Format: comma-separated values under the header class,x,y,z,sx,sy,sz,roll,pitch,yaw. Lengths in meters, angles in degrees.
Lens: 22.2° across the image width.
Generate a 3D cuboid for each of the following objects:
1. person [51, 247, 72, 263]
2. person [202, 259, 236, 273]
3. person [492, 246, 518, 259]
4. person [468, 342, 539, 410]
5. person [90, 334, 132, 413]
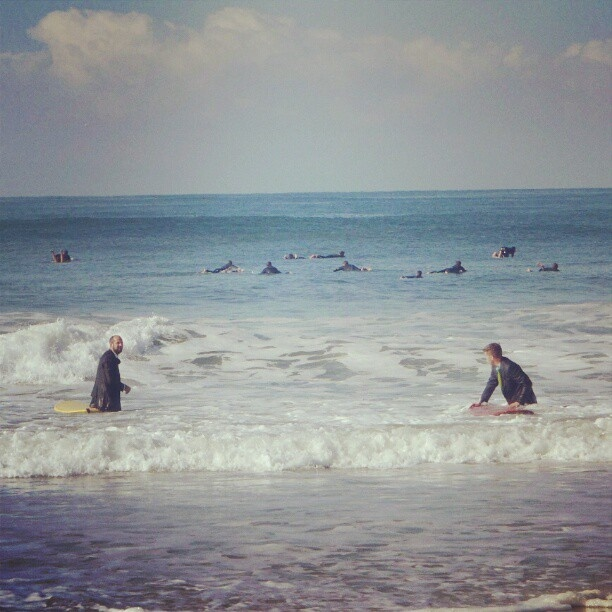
class,x,y,z,sx,sy,sz,roll,pitch,yaw
person,-8.785,-1.769,56.045,0.463,0.603,1.271,-6,-4,-1
person,-3.104,-1.344,53.847,1.112,0.271,0.607,-3,3,8
person,7.966,-2.163,61.969,0.595,0.342,0.899,-3,11,17
person,3.468,1.199,26.378,0.901,1.194,0.547,0,13,-1
person,-3.398,1.178,26.714,0.698,1.514,1.200,-2,13,-7
